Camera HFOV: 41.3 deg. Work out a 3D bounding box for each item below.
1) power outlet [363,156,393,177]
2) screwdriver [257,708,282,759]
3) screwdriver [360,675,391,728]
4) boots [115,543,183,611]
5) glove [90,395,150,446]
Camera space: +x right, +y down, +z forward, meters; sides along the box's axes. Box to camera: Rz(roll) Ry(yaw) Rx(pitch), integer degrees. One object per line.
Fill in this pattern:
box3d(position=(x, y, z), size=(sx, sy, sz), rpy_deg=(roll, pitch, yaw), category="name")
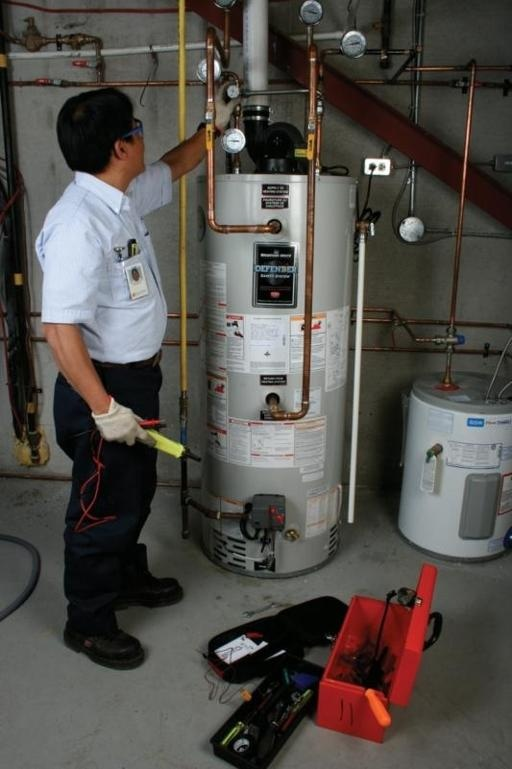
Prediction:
box3d(position=(0.406, -0.722, 2.285), size=(0.096, 0.051, 0.162), rpy_deg=(-2, 20, 1), category="power outlet")
box3d(position=(0.032, 0.874, 1.681), size=(0.022, 0.024, 0.104), rpy_deg=(13, 19, 11), category="screwdriver")
box3d(position=(0.286, 0.740, 1.577), size=(0.043, 0.129, 0.042), rpy_deg=(-29, 31, -16), category="screwdriver")
box3d(position=(-0.374, 0.640, 2.295), size=(0.244, 0.217, 0.102), rpy_deg=(-2, -5, -11), category="boots")
box3d(position=(-0.346, 0.103, 1.810), size=(0.150, 0.116, 0.140), rpy_deg=(17, 12, -10), category="glove")
